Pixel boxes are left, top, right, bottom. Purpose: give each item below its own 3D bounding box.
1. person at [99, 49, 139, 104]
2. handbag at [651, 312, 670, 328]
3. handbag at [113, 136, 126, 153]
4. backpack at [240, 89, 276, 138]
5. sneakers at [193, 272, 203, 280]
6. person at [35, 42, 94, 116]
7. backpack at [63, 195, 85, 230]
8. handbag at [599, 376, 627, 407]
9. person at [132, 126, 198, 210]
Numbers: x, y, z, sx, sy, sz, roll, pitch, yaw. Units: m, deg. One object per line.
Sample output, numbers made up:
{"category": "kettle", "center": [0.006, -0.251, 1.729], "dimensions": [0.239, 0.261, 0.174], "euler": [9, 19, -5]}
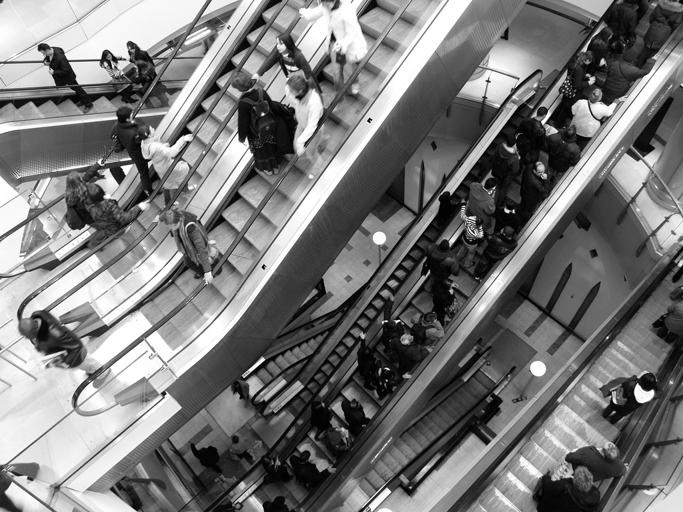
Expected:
{"category": "person", "center": [-5.479, -4.483, 14.767], "dimensions": [0.685, 0.488, 1.406], "euler": [-5, -50, 10]}
{"category": "handbag", "center": [6.232, 1.295, 11.667], "dimensions": [0.079, 0.318, 0.305], "euler": [28, -65, -23]}
{"category": "handbag", "center": [-4.333, -2.135, 11.539], "dimensions": [0.110, 0.208, 0.298], "euler": [53, 8, 38]}
{"category": "backpack", "center": [-1.459, -2.467, 10.312], "dimensions": [0.321, 0.510, 0.542], "euler": [45, -17, 29]}
{"category": "sneakers", "center": [-2.692, 0.376, 11.197], "dimensions": [0.110, 0.117, 0.296], "euler": [0, 8, -24]}
{"category": "person", "center": [-6.654, -4.168, 14.206], "dimensions": [0.770, 0.818, 1.734], "euler": [-19, -11, -12]}
{"category": "backpack", "center": [-4.885, -0.804, 10.895], "dimensions": [0.270, 0.215, 0.518], "euler": [29, -17, -3]}
{"category": "handbag", "center": [4.905, 2.455, 10.802], "dimensions": [0.500, 0.437, 0.210], "euler": [-30, -30, 17]}
{"category": "person", "center": [-3.360, -1.695, 11.425], "dimensions": [0.637, 0.832, 1.455], "euler": [34, -16, 19]}
